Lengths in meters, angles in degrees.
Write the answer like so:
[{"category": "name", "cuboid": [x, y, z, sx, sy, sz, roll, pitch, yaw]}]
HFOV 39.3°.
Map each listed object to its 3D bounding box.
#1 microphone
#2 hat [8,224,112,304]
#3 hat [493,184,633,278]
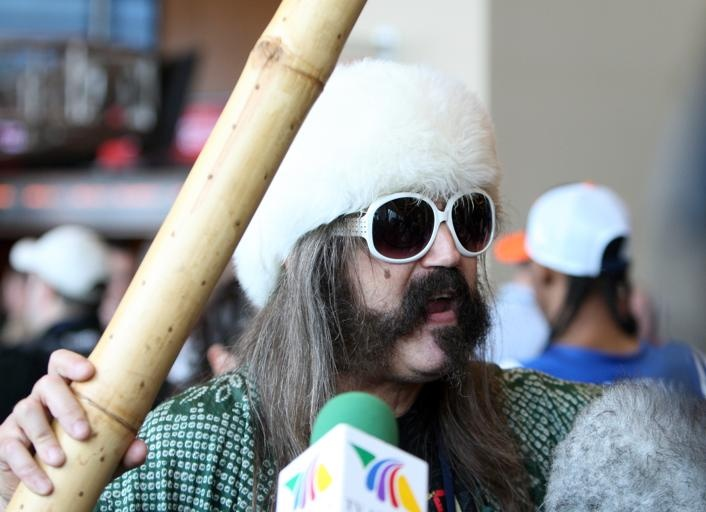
[{"category": "microphone", "cuboid": [0.002, 0.485, 2.436, 0.190, 0.279, 0.209, 3, -3, -6]}, {"category": "hat", "cuboid": [-1.750, 0.029, 6.147, 0.657, 0.370, 0.477, 17, 74, 44]}, {"category": "hat", "cuboid": [0.910, -0.147, 4.306, 0.403, 0.393, 0.713, -5, 13, -28]}]
